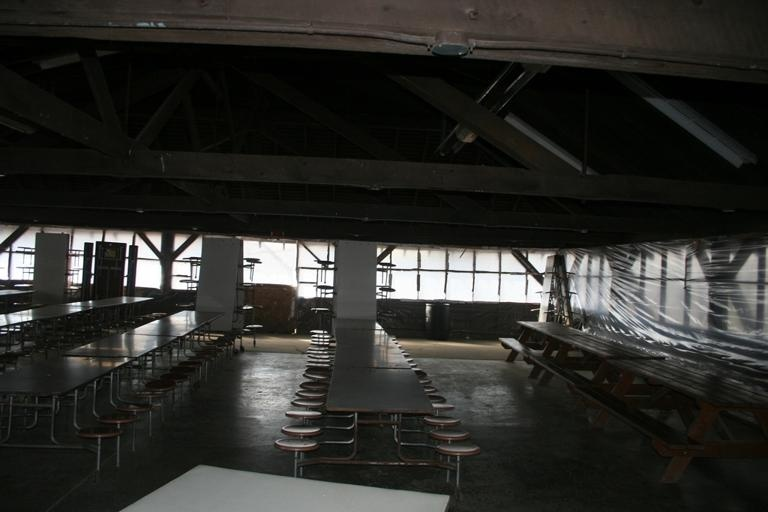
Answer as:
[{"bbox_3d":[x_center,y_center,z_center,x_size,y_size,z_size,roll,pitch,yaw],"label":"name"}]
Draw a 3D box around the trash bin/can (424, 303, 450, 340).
[{"bbox_3d":[1.605,1.829,16.878,0.996,0.920,0.935,0,-5,-1],"label":"trash bin/can"}]
